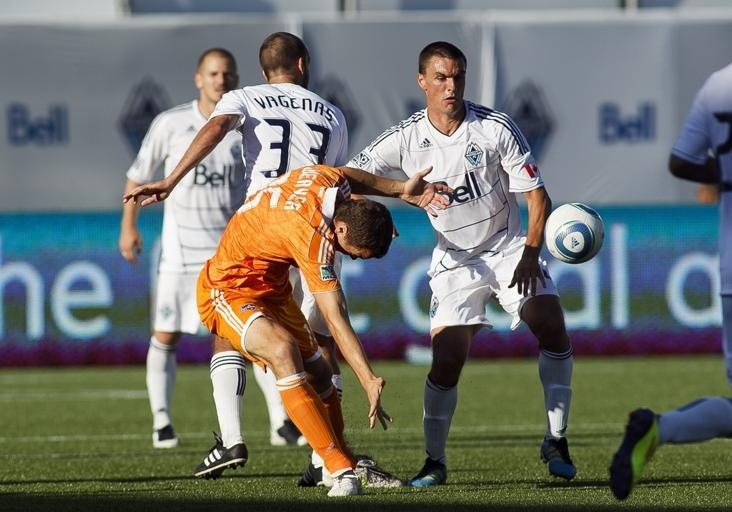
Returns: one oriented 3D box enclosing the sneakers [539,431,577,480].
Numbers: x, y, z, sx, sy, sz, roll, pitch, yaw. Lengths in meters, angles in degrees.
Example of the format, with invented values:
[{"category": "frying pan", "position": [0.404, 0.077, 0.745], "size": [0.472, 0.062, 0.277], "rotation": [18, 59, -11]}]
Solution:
[{"category": "sneakers", "position": [1.523, 1.613, 10.121], "size": [0.166, 0.245, 0.456], "rotation": [9, 19, -28]}]
